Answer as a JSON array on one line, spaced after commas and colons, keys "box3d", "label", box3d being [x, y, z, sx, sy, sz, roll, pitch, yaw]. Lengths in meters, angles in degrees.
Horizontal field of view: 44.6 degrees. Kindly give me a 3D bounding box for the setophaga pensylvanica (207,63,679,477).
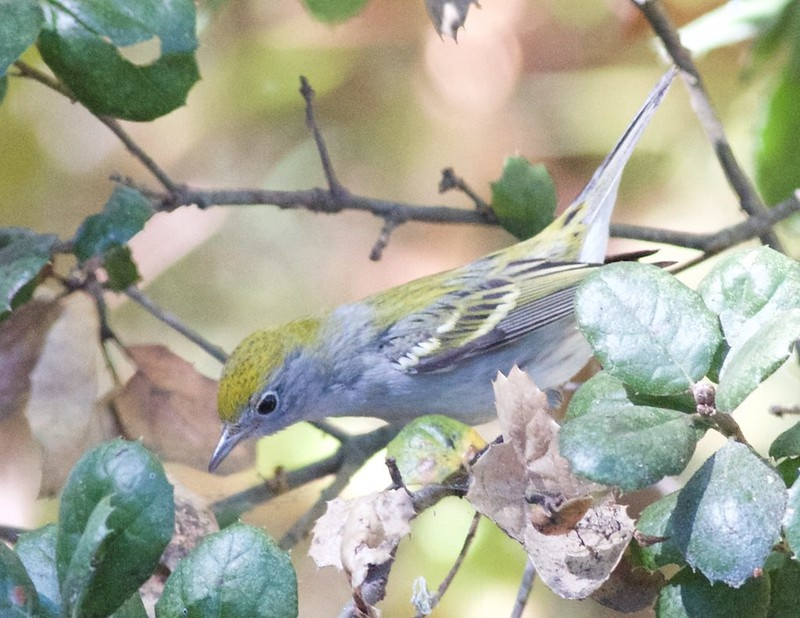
[{"box3d": [0.108, 0.041, 1.301, 0.726, 0.238, 0.338, -25, -88, -22], "label": "setophaga pensylvanica"}]
